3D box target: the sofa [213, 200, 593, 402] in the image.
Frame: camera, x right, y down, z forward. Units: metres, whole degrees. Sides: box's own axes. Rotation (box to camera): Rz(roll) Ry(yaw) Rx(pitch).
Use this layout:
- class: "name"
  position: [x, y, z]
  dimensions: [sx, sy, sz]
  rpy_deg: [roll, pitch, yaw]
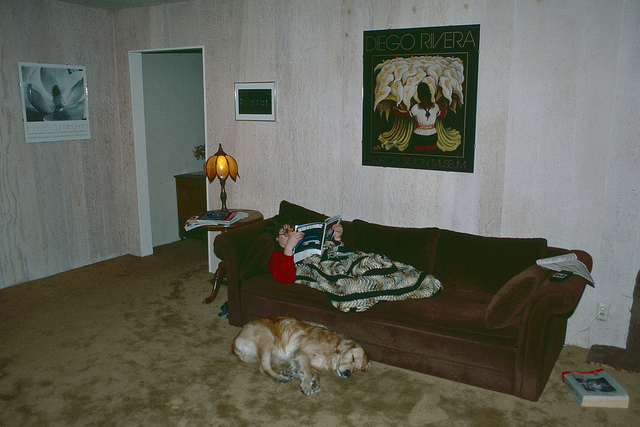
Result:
- class: "sofa"
  position: [0.656, 0.730, 4.791]
  dimensions: [3.455, 1.268, 1.180]
  rpy_deg: [6, 8, 28]

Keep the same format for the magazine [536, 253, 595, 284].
- class: "magazine"
  position: [2.006, 0.487, 4.032]
  dimensions: [0.379, 0.118, 0.476]
  rpy_deg: [-8, 6, 38]

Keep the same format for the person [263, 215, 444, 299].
- class: "person"
  position: [0.258, 0.333, 4.464]
  dimensions: [1.324, 0.506, 0.751]
  rpy_deg: [6, 4, 32]

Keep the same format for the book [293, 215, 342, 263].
- class: "book"
  position: [-0.051, 0.251, 4.734]
  dimensions: [0.327, 0.431, 0.157]
  rpy_deg: [12, 3, -28]

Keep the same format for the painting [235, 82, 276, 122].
- class: "painting"
  position: [-0.741, -1.321, 5.628]
  dimensions: [0.464, 0.366, 0.023]
  rpy_deg: [3, 9, 23]

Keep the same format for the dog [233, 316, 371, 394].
- class: "dog"
  position: [-0.197, 1.131, 4.106]
  dimensions: [0.831, 0.332, 0.633]
  rpy_deg: [23, -4, 5]

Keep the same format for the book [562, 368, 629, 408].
- class: "book"
  position: [2.272, 1.456, 3.969]
  dimensions: [0.418, 0.168, 0.302]
  rpy_deg: [-1, 11, -3]

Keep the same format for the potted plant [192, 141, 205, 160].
- class: "potted plant"
  position: [-1.819, -0.926, 7.179]
  dimensions: [0.198, 0.208, 0.099]
  rpy_deg: [-3, -5, -28]

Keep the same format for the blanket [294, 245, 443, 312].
- class: "blanket"
  position: [0.435, 0.602, 4.364]
  dimensions: [0.914, 0.305, 0.661]
  rpy_deg: [9, 15, 7]
